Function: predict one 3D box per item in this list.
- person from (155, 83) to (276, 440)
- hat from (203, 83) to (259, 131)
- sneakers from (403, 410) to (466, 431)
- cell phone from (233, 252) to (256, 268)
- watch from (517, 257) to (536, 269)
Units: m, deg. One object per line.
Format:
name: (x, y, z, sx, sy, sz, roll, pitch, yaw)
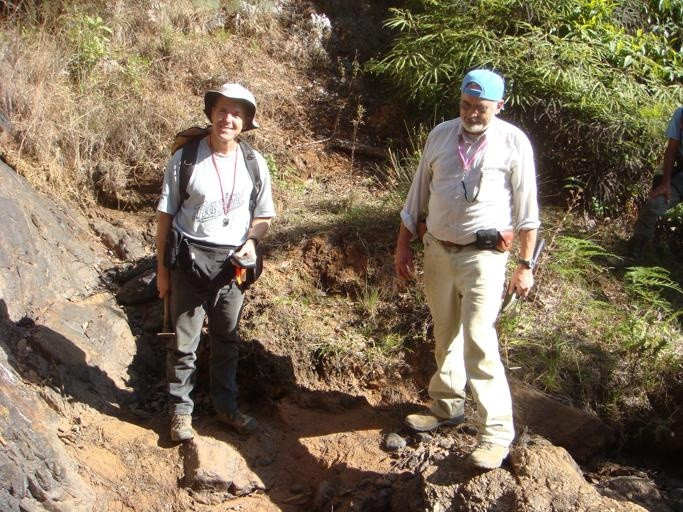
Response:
person: (-1.133, 0.118, 5.618, 0.971, 3.162, 0.525, 4, 12, -17)
hat: (-0.947, -1.280, 5.503, 0.448, 0.369, 0.365, 6, 12, -12)
sneakers: (0.816, 1.463, 5.762, 0.507, 0.228, 0.204, 2, 2, -10)
cell phone: (-0.814, 0.036, 5.430, 0.130, 0.031, 0.133, -4, 30, -31)
watch: (1.497, 0.050, 5.283, 0.091, 0.055, 0.093, 3, -2, 43)
